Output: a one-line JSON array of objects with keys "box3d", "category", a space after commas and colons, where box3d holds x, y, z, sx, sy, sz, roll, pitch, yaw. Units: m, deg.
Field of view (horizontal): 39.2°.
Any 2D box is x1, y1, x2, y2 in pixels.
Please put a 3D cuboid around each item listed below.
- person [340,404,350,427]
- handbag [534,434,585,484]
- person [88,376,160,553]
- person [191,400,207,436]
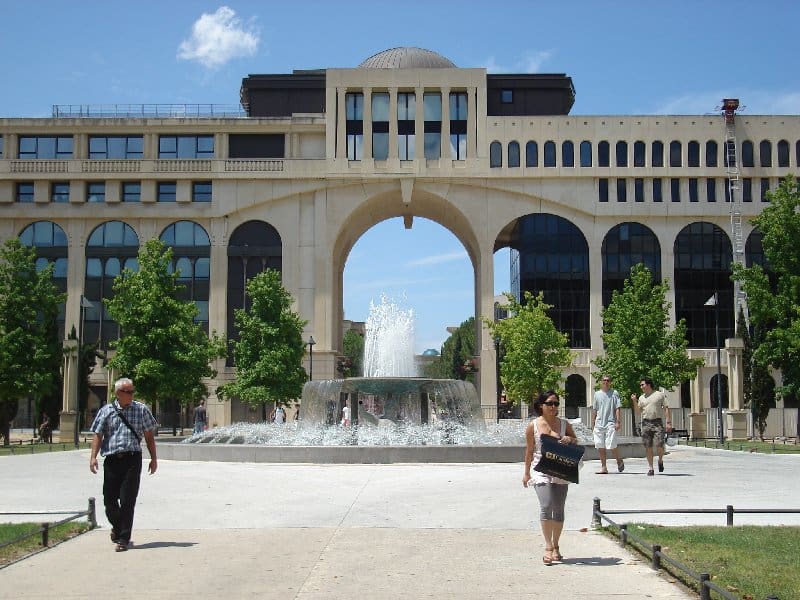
[{"box3d": [-2.075, 4.465, 43.311, 0.215, 0.961, 0.508, -2, -6, 5], "category": "person"}, {"box3d": [3.104, 3.144, 22.322, 0.843, 0.786, 0.335, 16, 14, 1], "category": "handbag"}, {"box3d": [-5.747, 3.378, 23.346, 1.279, 3.521, 0.958, 1, -6, -11], "category": "person"}, {"box3d": [-7.814, 4.616, 43.798, 0.455, 1.103, 1.137, 1, -6, -11], "category": "person"}]
